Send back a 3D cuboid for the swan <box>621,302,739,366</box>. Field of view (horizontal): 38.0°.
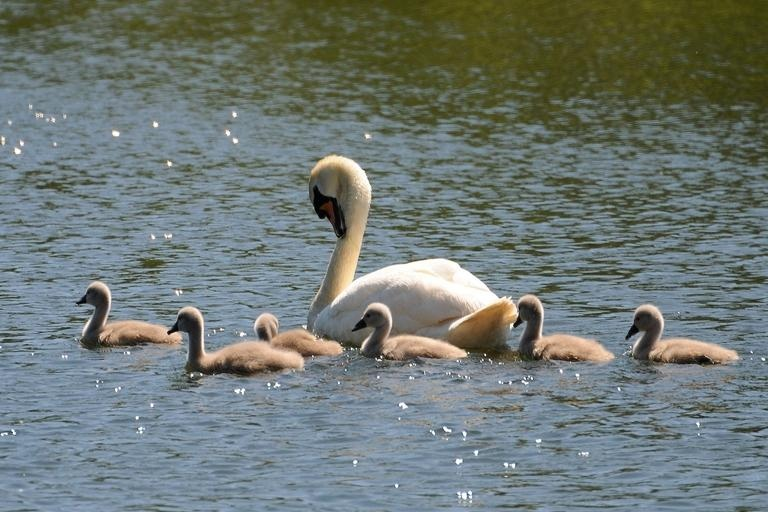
[{"bbox_3d":[4.795,1.137,17.524,2.270,0.800,1.568,0,9,-1],"label":"swan"}]

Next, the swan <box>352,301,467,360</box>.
[{"bbox_3d":[0.579,1.222,17.433,2.479,0.829,0.817,-2,-3,33],"label":"swan"}]

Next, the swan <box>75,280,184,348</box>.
[{"bbox_3d":[-4.369,1.080,18.139,1.785,0.727,1.029,17,29,28],"label":"swan"}]

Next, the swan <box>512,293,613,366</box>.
[{"bbox_3d":[3.035,1.247,17.582,1.807,0.848,0.856,3,1,27],"label":"swan"}]

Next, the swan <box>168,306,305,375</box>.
[{"bbox_3d":[-2.318,1.406,16.926,2.122,0.820,0.788,11,29,17],"label":"swan"}]

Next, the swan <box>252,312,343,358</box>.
[{"bbox_3d":[-1.390,1.343,17.824,1.495,0.684,0.616,5,28,12],"label":"swan"}]
